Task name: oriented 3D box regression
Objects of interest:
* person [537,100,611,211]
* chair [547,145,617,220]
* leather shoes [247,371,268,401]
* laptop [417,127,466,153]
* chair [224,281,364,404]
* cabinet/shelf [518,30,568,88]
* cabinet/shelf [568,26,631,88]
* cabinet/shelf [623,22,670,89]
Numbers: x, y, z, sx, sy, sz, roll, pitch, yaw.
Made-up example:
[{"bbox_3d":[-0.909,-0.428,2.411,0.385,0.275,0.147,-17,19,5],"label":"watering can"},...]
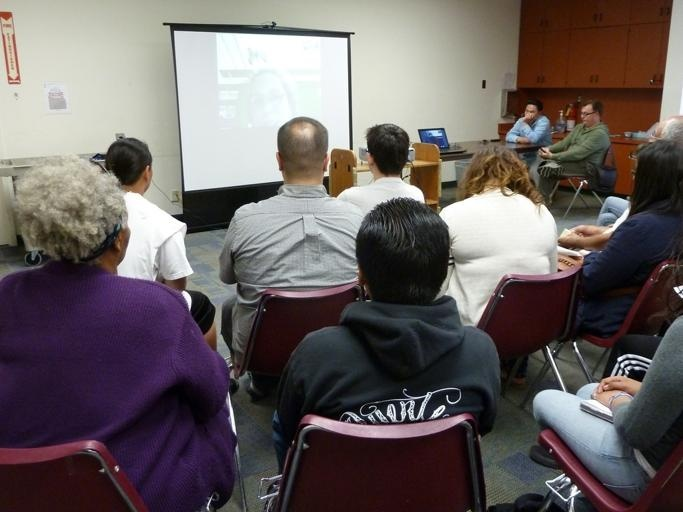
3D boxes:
[{"bbox_3d":[2.904,-1.218,6.321,0.749,1.533,0.651,7,23,9],"label":"person"},{"bbox_3d":[3.050,-0.960,6.168,0.487,0.864,0.639,6,8,5],"label":"chair"},{"bbox_3d":[-0.435,0.668,2.546,0.068,0.174,0.158,-1,14,4],"label":"leather shoes"},{"bbox_3d":[1.241,-1.434,6.158,0.434,0.297,0.423,-10,18,-27],"label":"laptop"},{"bbox_3d":[-0.239,0.241,2.176,0.392,0.644,0.497,-6,31,-14],"label":"chair"},{"bbox_3d":[3.174,-3.142,7.878,0.859,0.879,0.322,2,8,9],"label":"cabinet/shelf"},{"bbox_3d":[3.824,-2.927,7.215,0.474,0.919,0.882,-25,30,-28],"label":"cabinet/shelf"},{"bbox_3d":[4.140,-2.724,6.767,0.497,0.944,0.510,-17,22,-28],"label":"cabinet/shelf"}]
